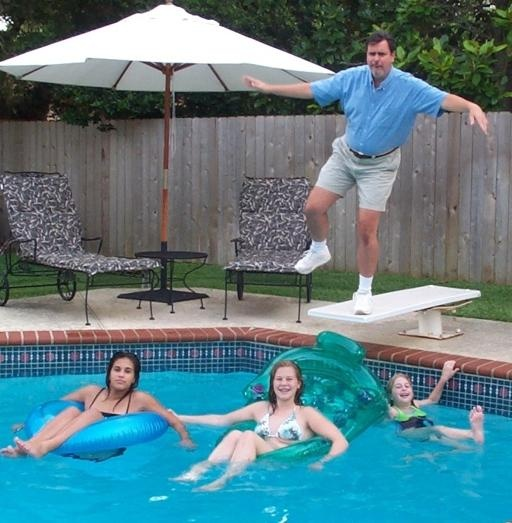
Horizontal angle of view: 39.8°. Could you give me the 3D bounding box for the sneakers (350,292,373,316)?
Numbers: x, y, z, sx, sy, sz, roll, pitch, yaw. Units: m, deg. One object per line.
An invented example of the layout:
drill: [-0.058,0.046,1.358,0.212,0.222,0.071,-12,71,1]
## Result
sneakers: [0.734,0.300,4.910,0.150,0.162,0.415,0,1,10]

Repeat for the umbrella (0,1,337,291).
umbrella: [-1.210,-1.333,8.786,4.625,3.115,4.275,2,2,4]

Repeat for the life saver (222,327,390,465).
life saver: [0.387,0.949,4.259,0.805,0.320,1.036,6,31,0]

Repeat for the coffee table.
coffee table: [-0.868,0.157,6.749,0.714,0.516,0.693,5,-22,8]

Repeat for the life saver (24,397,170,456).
life saver: [-0.850,1.069,4.334,0.714,0.164,0.653,-4,-11,-36]

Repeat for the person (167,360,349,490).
person: [-0.077,0.902,4.154,0.877,0.497,0.941,-9,16,-34]

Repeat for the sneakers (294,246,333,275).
sneakers: [0.424,-0.036,5.581,0.351,0.149,0.153,-32,-39,31]

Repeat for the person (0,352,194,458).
person: [-0.906,0.806,4.178,0.730,0.350,0.724,15,5,22]
